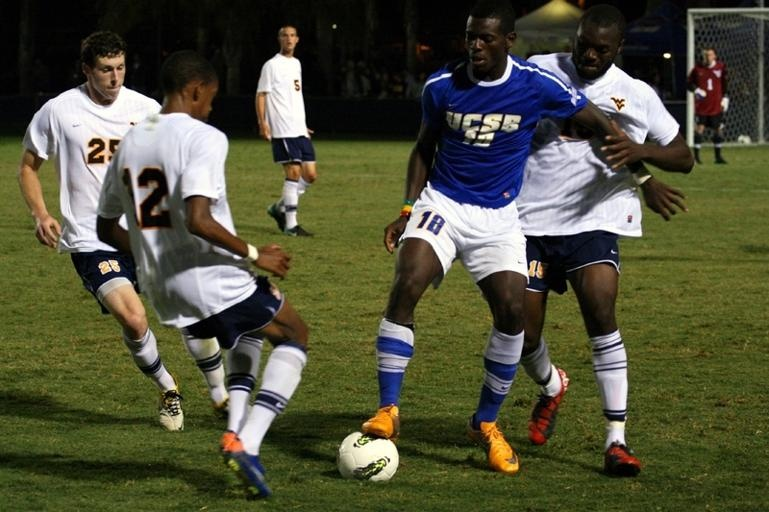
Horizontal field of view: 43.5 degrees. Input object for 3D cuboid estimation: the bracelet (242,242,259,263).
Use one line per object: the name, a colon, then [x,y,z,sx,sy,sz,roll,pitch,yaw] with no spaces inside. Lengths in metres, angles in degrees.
bracelet: [-0.771,-0.023,5.490,0.032,0.094,0.095,-21,-24,14]

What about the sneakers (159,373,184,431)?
sneakers: [-1.431,0.998,6.457,0.119,0.315,0.136,-8,-3,-15]

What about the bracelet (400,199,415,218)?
bracelet: [0.151,-0.303,6.184,0.072,0.032,0.124,-2,50,34]

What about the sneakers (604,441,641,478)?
sneakers: [1.447,1.240,5.868,0.133,0.131,0.257,0,-5,-3]

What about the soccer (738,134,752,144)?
soccer: [8.515,-2.768,22.729,0.229,0.167,0.291,3,8,13]

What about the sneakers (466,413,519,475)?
sneakers: [0.678,1.170,5.953,0.167,0.200,0.449,-27,49,-20]

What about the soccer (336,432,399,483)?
soccer: [-0.067,1.231,5.903,0.328,0.287,0.302,13,-13,20]

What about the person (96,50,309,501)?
person: [-1.110,0.085,5.708,1.198,2.561,0.672,4,11,25]

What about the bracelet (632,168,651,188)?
bracelet: [1.635,-0.503,6.149,0.109,0.082,0.105,-34,-3,-22]

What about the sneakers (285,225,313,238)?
sneakers: [-1.045,-0.310,11.623,0.378,0.162,0.135,0,16,-8]
